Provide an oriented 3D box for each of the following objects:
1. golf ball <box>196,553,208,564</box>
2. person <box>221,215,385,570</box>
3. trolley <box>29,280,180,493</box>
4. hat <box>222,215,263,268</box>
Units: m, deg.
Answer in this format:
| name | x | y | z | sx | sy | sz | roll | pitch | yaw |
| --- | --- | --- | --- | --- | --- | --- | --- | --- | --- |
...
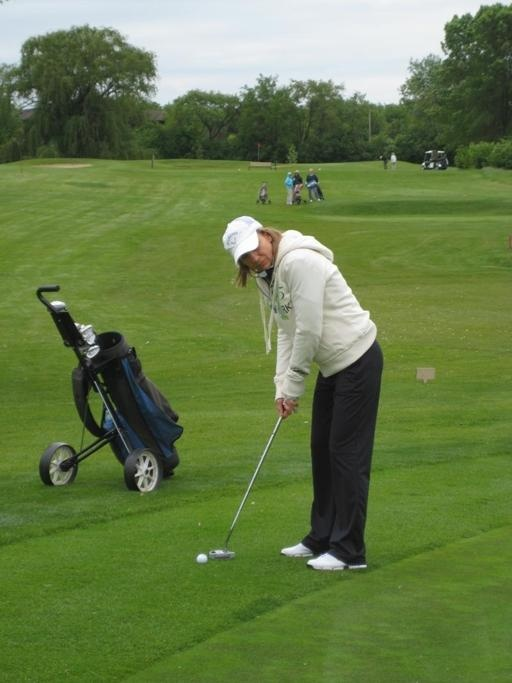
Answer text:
| name | x | y | z | sx | sy | sz | roll | pitch | yaw |
| --- | --- | --- | --- | --- | --- | --- | --- | --- | --- |
| golf ball | -0.288 | 1.138 | 5.950 | 0.048 | 0.032 | 0.049 | 4 | 6 | 0 |
| person | 0.170 | 0.166 | 6.063 | 0.888 | 1.852 | 0.877 | 4 | 11 | -22 |
| trolley | -1.060 | 0.321 | 8.272 | 1.005 | 1.468 | 0.827 | -1 | 5 | 2 |
| hat | -0.076 | -0.542 | 5.949 | 0.170 | 0.179 | 0.270 | 42 | 17 | -11 |
